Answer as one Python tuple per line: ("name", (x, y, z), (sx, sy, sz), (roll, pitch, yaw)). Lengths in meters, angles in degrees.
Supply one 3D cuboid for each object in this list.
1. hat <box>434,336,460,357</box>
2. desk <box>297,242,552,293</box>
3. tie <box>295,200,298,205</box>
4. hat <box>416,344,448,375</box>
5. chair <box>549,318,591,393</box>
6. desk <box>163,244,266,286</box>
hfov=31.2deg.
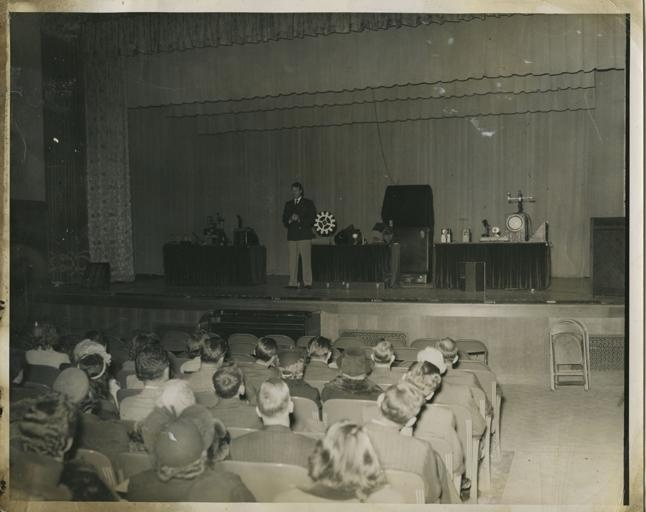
("hat", (1.399, 1.009, 12.963), (0.191, 0.215, 0.215), (-31, -19, -9))
("desk", (1.621, 0.139, 16.848), (3.335, 0.690, 0.674), (0, -2, 13))
("tie", (-0.390, -0.793, 16.867), (0.038, 0.058, 0.013), (0, -8, 12))
("hat", (1.190, 1.117, 12.489), (0.250, 0.327, 0.321), (8, 9, 21))
("chair", (3.152, 1.236, 14.682), (0.511, 0.880, 0.309), (0, -2, 13))
("desk", (-1.626, 0.112, 17.260), (1.517, 0.653, 0.580), (0, -2, -10))
